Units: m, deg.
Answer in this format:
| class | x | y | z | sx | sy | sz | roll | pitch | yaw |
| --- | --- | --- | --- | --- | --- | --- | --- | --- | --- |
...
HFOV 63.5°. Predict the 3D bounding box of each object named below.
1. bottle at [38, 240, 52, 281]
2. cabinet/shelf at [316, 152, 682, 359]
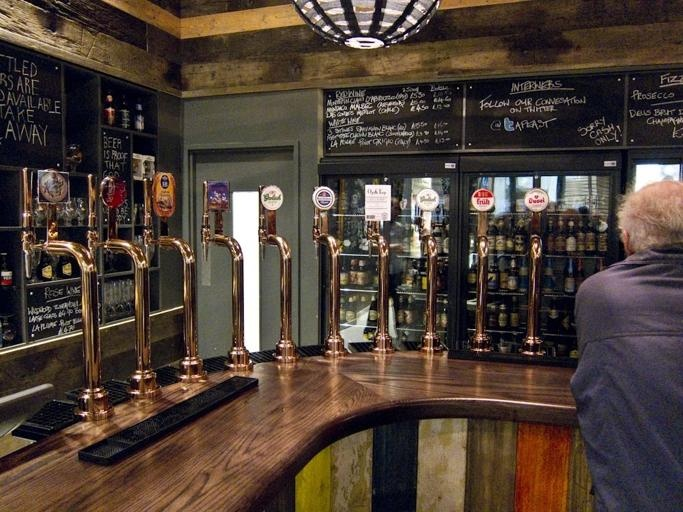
| class | x | y | z | sx | sy | sz | roll | pitch | yaw |
| --- | --- | --- | --- | --- | --- | --- | --- | --- | --- |
| bottle | -1.953 | 0.075 | 3.640 | 0.075 | 0.182 | 0.120 | -1 | 4 | -17 |
| cabinet/shelf | 0.912 | -0.059 | 3.244 | 1.540 | 1.459 | 0.541 | 0 | -2 | 12 |
